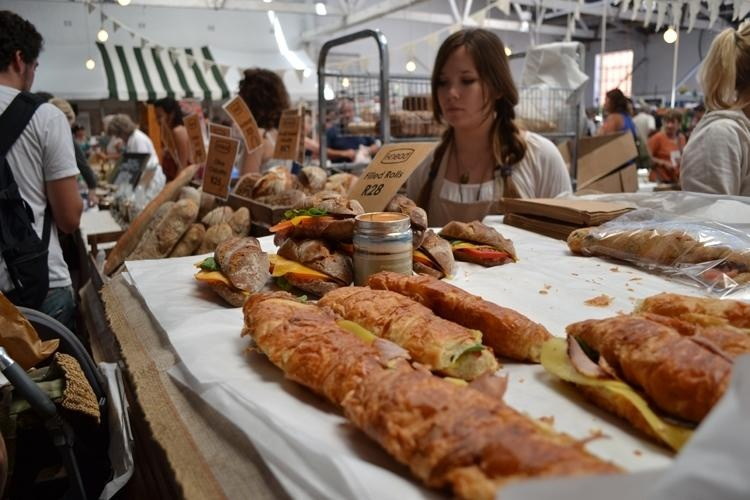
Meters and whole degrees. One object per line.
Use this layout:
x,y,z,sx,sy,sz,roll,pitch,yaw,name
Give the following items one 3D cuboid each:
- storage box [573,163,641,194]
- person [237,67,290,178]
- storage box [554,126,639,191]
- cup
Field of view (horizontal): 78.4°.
2.098,-0.649,4.068,0.517,0.235,0.224,-3,15,-13,storage box
-0.917,-1.090,3.816,0.429,0.891,1.055,-2,15,-11,person
2.051,-0.884,4.519,0.790,0.611,0.458,-5,12,-42,storage box
0.027,-0.008,1.535,0.196,0.255,0.222,0,5,-3,cup
